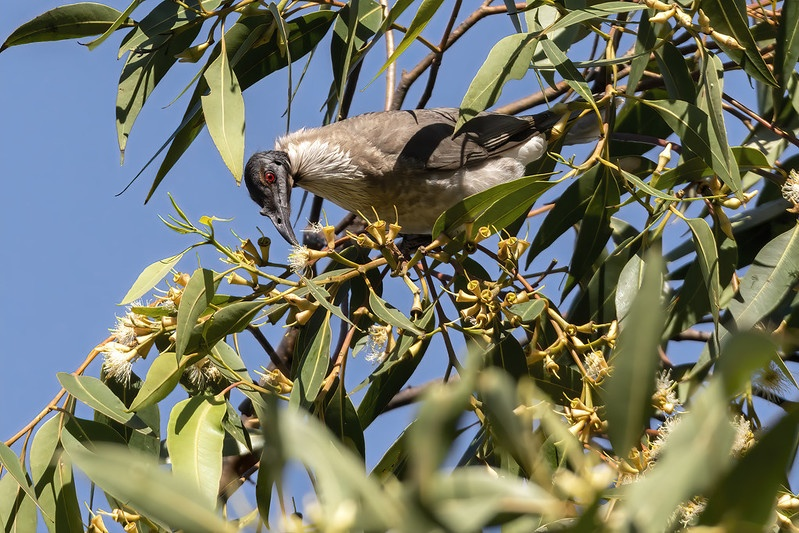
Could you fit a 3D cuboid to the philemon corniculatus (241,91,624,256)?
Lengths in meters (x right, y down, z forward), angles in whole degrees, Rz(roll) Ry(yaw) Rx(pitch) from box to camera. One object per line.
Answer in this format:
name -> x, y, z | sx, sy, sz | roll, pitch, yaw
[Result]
philemon corniculatus -> 0.210, -0.379, 5.002 | 0.977, 0.363, 0.399 | -28, -32, 30
